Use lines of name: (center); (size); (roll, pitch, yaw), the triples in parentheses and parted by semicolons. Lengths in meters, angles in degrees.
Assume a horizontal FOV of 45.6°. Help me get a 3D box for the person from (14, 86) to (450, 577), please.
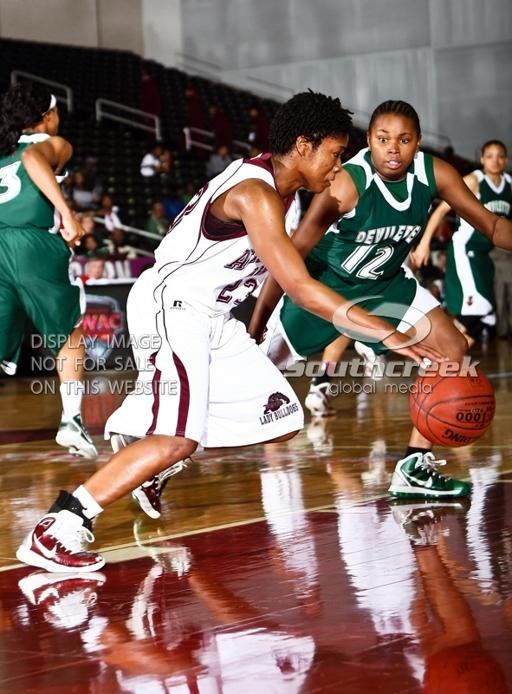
person: (-0.119, -0.052, 1.956); (1.241, 1.353, 0.963); (-1, 8, -10)
